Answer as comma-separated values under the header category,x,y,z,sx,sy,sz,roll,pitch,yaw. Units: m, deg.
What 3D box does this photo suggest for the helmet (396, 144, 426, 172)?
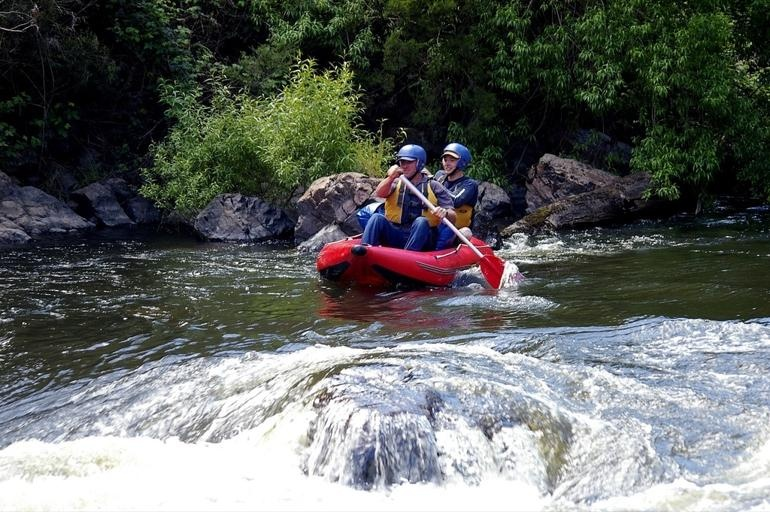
category,x,y,z,sx,sy,sz,roll,pitch,yaw
helmet,0.402,-1.466,10.162,0.332,0.333,0.443,10,26,28

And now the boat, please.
category,x,y,z,sx,sy,sz,roll,pitch,yaw
boat,0.395,0.161,9.626,1.633,0.388,1.039,6,0,-28

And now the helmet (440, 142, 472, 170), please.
category,x,y,z,sx,sy,sz,roll,pitch,yaw
helmet,1.087,-1.565,10.748,0.379,0.361,0.493,18,22,39
